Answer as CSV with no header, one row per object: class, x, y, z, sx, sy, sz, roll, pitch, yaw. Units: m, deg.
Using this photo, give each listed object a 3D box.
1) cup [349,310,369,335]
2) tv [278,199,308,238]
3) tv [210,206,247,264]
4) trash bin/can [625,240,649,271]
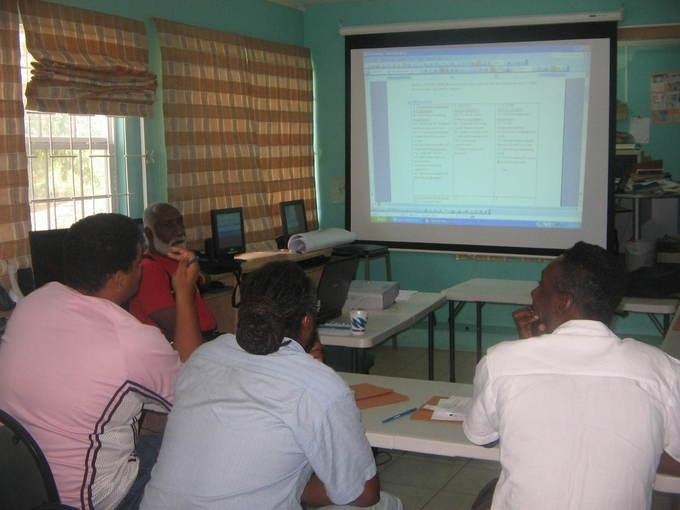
cup,0.102,0.362,3.058,0.115,0.117,0.094,2,6,15
tv,-0.445,-0.329,5.250,0.056,0.400,0.353,-7,3,34
tv,-0.952,-0.190,4.672,0.236,0.381,0.273,4,12,42
trash bin/can,2.463,0.014,4.654,0.217,0.225,0.226,-3,3,-21
